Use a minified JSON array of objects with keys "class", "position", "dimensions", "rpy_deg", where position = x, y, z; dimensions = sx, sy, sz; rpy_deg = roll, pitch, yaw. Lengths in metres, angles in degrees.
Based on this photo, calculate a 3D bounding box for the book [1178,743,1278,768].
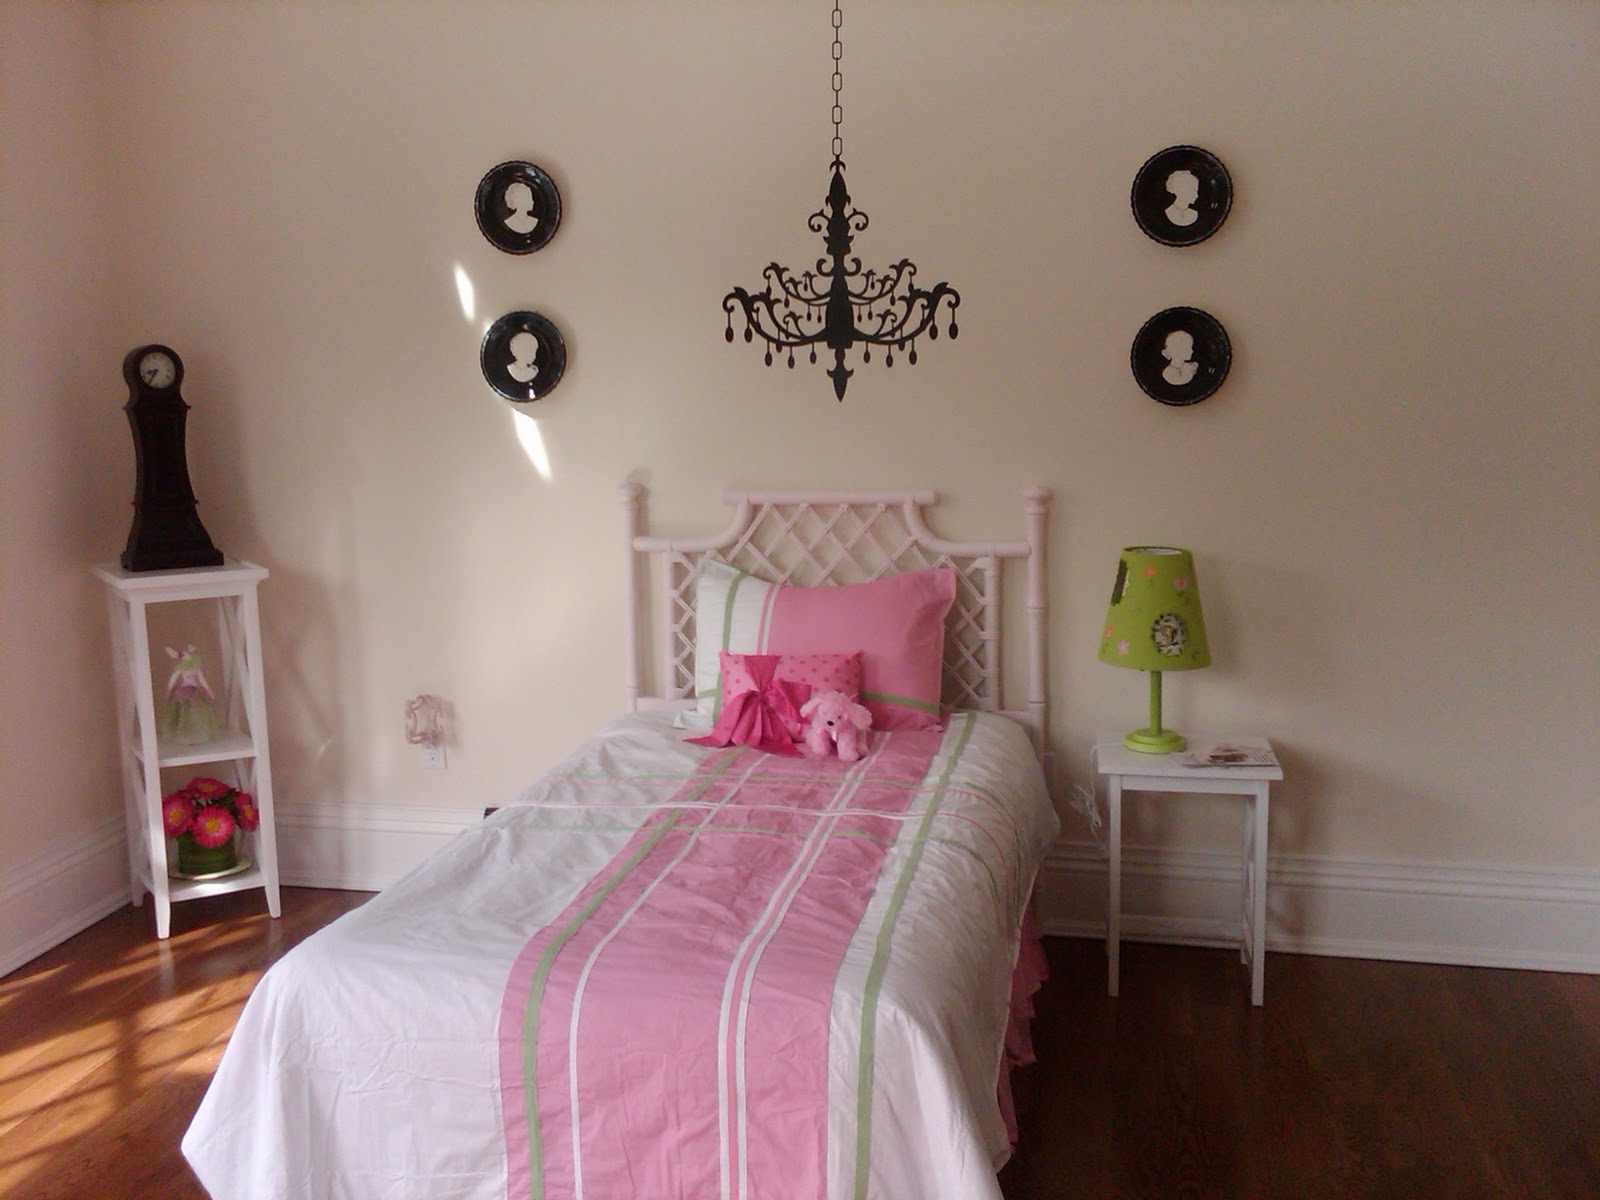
[{"class":"book","position":[1.335,0.480,3.993],"dimensions":[0.284,0.050,0.271],"rpy_deg":[-2,1,14]}]

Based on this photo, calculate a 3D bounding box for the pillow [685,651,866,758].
[{"class":"pillow","position":[-0.034,0.331,4.110],"dimensions":[0.353,0.392,0.142],"rpy_deg":[2,-41,8]}]

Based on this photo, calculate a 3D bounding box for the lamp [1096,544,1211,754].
[{"class":"lamp","position":[1.134,0.150,4.092],"dimensions":[0.324,0.656,0.326],"rpy_deg":[-1,2,18]}]

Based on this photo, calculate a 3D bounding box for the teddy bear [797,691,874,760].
[{"class":"teddy bear","position":[0.100,0.382,3.919],"dimensions":[0.165,0.184,0.215],"rpy_deg":[0,-1,6]}]

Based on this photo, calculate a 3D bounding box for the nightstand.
[{"class":"nightstand","position":[1.232,0.832,4.070],"dimensions":[0.574,0.799,0.512],"rpy_deg":[-1,2,19]}]
